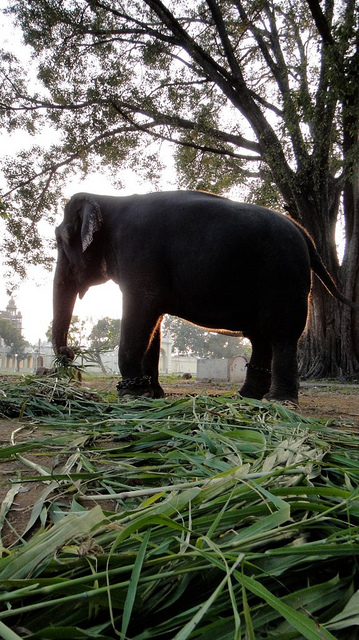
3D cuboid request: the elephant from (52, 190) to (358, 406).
[{"bbox_3d":[-0.045,-0.234,2.725,1.588,1.430,0.707,-1,-7,31],"label":"elephant"}]
